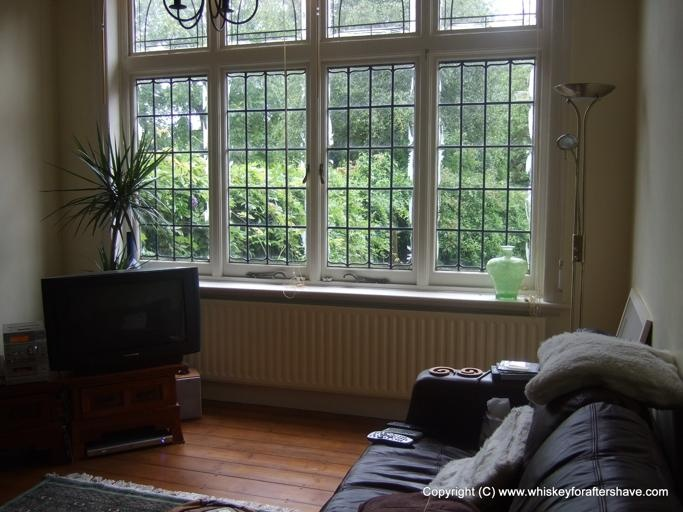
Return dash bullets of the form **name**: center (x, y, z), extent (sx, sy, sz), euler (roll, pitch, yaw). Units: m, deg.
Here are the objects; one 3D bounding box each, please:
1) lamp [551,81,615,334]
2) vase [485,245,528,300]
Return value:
- **lamp**: center (1.557, -0.318, 3.873), extent (0.383, 1.667, 0.788), euler (3, 9, 23)
- **vase**: center (1.218, 0.114, 4.282), extent (0.280, 0.379, 0.231), euler (1, 3, 29)
